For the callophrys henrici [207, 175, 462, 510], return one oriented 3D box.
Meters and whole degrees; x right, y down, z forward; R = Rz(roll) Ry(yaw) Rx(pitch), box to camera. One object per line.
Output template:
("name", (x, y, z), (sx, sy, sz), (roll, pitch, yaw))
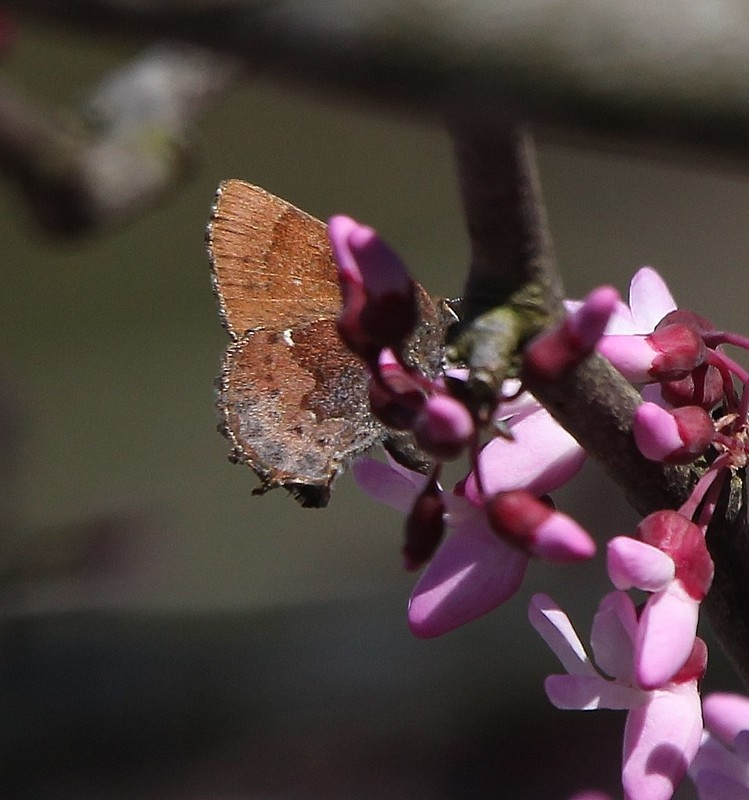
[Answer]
("callophrys henrici", (-0.045, -0.032, 0.745), (0.215, 0.143, 0.235), (-13, 96, -1))
